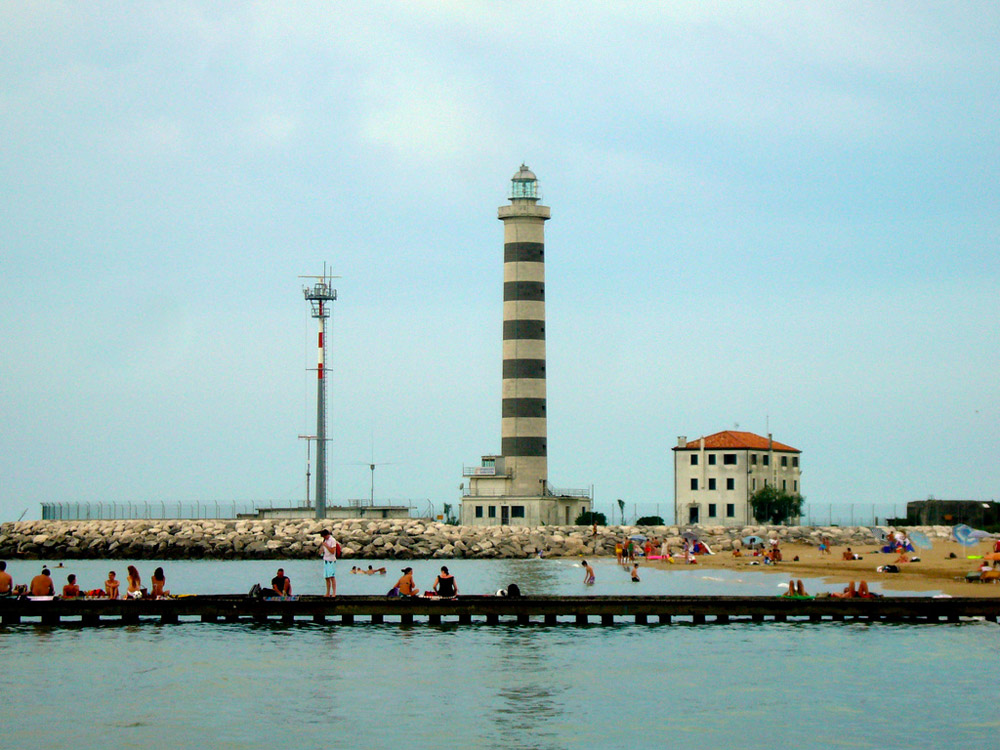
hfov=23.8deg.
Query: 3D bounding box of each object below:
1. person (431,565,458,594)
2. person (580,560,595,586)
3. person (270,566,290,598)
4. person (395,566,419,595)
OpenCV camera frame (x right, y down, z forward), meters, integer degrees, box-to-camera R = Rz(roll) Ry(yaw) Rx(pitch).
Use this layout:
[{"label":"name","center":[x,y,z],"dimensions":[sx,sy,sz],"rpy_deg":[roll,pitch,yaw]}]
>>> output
[{"label":"person","center":[-2.445,9.250,106.226],"dimensions":[0.959,1.341,1.571],"rpy_deg":[-1,12,-6]},{"label":"person","center":[4.829,11.005,131.553],"dimensions":[0.549,0.644,1.523],"rpy_deg":[-17,28,8]},{"label":"person","center":[-9.771,9.296,106.501],"dimensions":[0.778,0.957,1.334],"rpy_deg":[-1,12,-6]},{"label":"person","center":[-4.160,9.053,106.800],"dimensions":[0.870,1.279,2.716],"rpy_deg":[0,12,-3]}]
